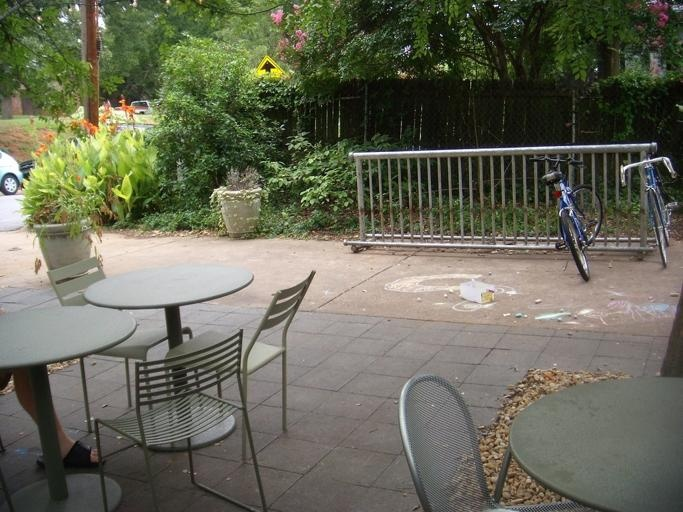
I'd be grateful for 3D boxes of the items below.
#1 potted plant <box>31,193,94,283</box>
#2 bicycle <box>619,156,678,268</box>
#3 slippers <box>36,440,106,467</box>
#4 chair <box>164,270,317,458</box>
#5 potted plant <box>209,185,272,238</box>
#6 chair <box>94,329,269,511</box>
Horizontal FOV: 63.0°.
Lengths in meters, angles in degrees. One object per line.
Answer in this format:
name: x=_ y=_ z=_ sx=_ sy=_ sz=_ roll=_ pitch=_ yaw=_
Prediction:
potted plant: x=-3.975 y=-0.116 z=8.058 sx=0.897 sy=0.723 sz=0.906 roll=-6 pitch=12 yaw=-16
bicycle: x=4.563 y=-0.824 z=8.236 sx=0.602 sy=1.346 sz=3.637 roll=2 pitch=12 yaw=30
slippers: x=-1.788 y=1.308 z=3.694 sx=0.461 sy=0.169 sz=0.234 roll=1 pitch=9 yaw=-3
chair: x=-0.693 y=0.716 z=3.888 sx=0.795 sy=1.177 sz=0.680 roll=8 pitch=11 yaw=19
potted plant: x=-1.968 y=-0.869 z=10.845 sx=0.957 sy=0.896 sz=0.929 roll=6 pitch=14 yaw=28
chair: x=-0.987 y=1.050 z=3.476 sx=0.628 sy=1.032 sz=0.627 roll=-17 pitch=39 yaw=-41
